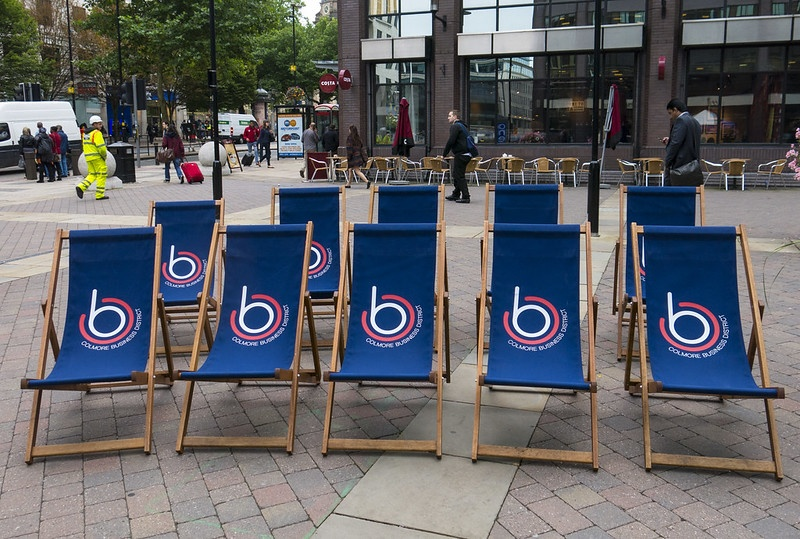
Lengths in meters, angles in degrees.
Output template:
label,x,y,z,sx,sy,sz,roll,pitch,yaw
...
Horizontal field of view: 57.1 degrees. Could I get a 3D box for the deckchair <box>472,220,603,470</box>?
label,x,y,z,sx,sy,sz,roll,pitch,yaw
deckchair,1.210,0.521,6.477,1.139,1.810,1.810,1,7,5

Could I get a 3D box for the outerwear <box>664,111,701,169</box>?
label,x,y,z,sx,sy,sz,roll,pitch,yaw
outerwear,4.441,-2.015,11.509,0.495,0.903,0.380,0,14,10

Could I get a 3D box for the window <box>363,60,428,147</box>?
label,x,y,z,sx,sy,sz,roll,pitch,yaw
window,-0.016,-5.781,26.317,2.173,3.249,0.125,0,-6,5

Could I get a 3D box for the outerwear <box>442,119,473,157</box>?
label,x,y,z,sx,sy,sz,roll,pitch,yaw
outerwear,1.462,-3.145,17.661,0.887,0.956,0.683,1,15,15

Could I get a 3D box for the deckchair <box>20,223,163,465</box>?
label,x,y,z,sx,sy,sz,roll,pitch,yaw
deckchair,-2.791,0.594,6.758,1.129,1.792,1.182,-3,14,-3

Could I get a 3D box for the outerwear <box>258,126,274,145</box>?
label,x,y,z,sx,sy,sz,roll,pitch,yaw
outerwear,-6.202,-6.035,33.589,0.680,0.907,0.798,-2,-5,-14

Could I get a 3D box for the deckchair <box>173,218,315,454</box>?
label,x,y,z,sx,sy,sz,roll,pitch,yaw
deckchair,-1.430,0.550,6.852,1.203,1.795,1.351,-2,14,2

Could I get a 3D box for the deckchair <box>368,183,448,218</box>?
label,x,y,z,sx,sy,sz,roll,pitch,yaw
deckchair,0.083,-0.702,8.763,0.870,0.672,0.509,0,-9,3

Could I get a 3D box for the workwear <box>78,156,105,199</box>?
label,x,y,z,sx,sy,sz,roll,pitch,yaw
workwear,-8.404,-2.456,20.024,0.640,1.081,0.802,-5,14,-10

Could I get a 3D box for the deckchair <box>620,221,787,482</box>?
label,x,y,z,sx,sy,sz,roll,pitch,yaw
deckchair,2.563,0.579,6.310,1.059,1.847,1.826,1,8,11

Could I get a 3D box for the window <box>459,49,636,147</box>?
label,x,y,z,sx,sy,sz,roll,pitch,yaw
window,4.902,-5.935,24.683,6.087,3.773,0.141,6,23,26

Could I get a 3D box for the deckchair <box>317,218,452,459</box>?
label,x,y,z,sx,sy,sz,roll,pitch,yaw
deckchair,-0.097,0.465,6.811,1.147,1.564,1.995,1,36,6
